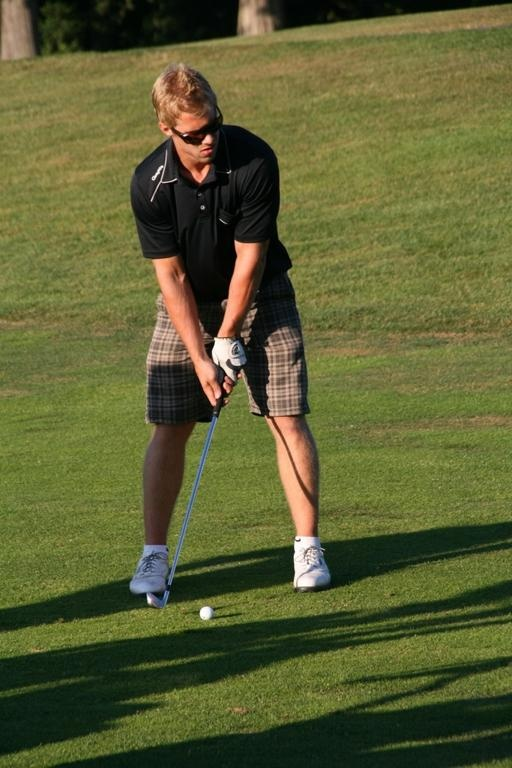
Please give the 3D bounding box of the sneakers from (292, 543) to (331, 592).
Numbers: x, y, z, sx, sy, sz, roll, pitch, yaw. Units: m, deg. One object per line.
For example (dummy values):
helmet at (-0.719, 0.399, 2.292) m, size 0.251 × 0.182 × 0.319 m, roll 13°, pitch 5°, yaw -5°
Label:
sneakers at (0.134, 0.419, 2.973) m, size 0.090 × 0.087 × 0.255 m, roll 2°, pitch 12°, yaw -4°

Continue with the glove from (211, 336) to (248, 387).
glove at (-0.063, -0.064, 2.995) m, size 0.050 × 0.058 × 0.137 m, roll -1°, pitch 26°, yaw -12°

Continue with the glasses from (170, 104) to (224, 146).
glasses at (-0.132, -0.582, 2.792) m, size 0.097 × 0.032 × 0.098 m, roll -43°, pitch 16°, yaw -21°

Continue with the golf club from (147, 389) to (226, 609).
golf club at (-0.183, 0.303, 3.184) m, size 0.058 × 0.500 × 0.075 m, roll 14°, pitch 9°, yaw -28°

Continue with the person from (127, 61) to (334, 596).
person at (-0.087, -0.146, 3.008) m, size 0.481 × 1.216 × 0.533 m, roll -3°, pitch 12°, yaw 1°

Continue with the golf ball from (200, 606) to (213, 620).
golf ball at (-0.109, 0.497, 2.729) m, size 0.032 × 0.024 × 0.052 m, roll -3°, pitch 12°, yaw -3°
